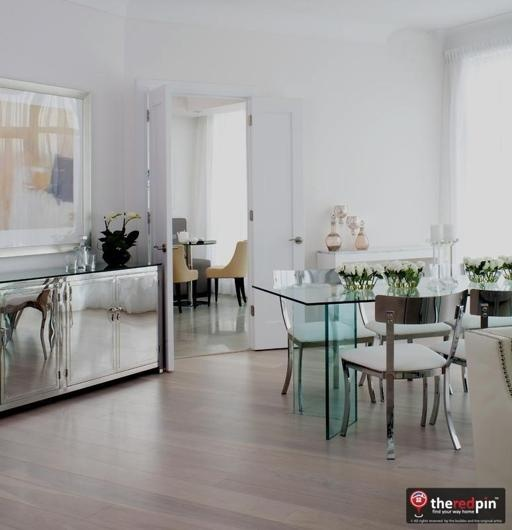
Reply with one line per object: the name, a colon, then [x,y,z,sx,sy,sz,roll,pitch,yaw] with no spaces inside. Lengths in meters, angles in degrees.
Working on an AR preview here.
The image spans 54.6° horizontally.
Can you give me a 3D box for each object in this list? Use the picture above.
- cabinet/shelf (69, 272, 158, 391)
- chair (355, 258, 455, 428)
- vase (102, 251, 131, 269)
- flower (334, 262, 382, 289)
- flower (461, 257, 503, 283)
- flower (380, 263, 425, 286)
cabinet/shelf: [-1.141,0.450,3.655,0.348,0.832,0.939,4,6,35]
chair: [0.832,0.355,2.945,0.522,0.856,0.605,-2,8,-10]
vase: [-1.064,-0.034,3.730,0.161,0.105,0.145,0,1,6]
flower: [0.626,0.065,2.938,0.187,0.100,0.184,0,0,-34]
flower: [1.479,0.024,3.234,0.199,0.131,0.193,0,2,10]
flower: [0.892,0.037,2.968,0.172,0.092,0.165,-1,2,-9]
